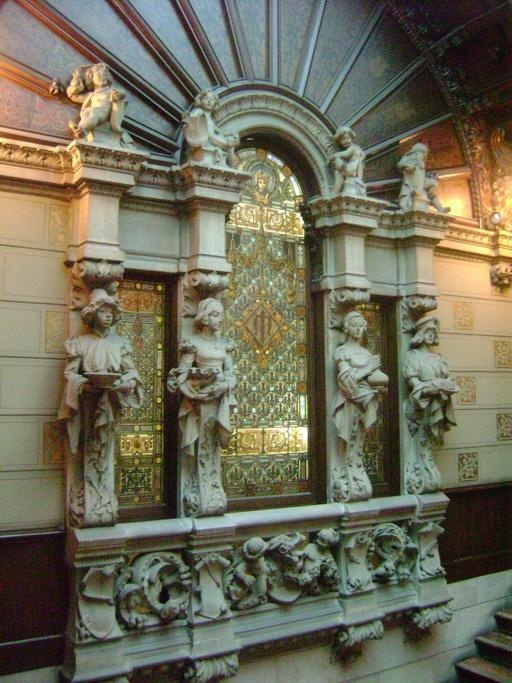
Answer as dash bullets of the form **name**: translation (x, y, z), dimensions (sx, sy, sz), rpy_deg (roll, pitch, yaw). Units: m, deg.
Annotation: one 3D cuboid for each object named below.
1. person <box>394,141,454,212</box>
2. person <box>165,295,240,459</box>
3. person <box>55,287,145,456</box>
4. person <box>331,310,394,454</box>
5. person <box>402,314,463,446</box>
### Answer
- **person**: translation (1.456, -1.436, 5.408), dimensions (0.310, 0.674, 0.545), rpy_deg (-3, -3, 40)
- **person**: translation (-0.358, 0.229, 3.945), dimensions (0.470, 1.024, 0.359), rpy_deg (0, -3, -25)
- **person**: translation (-0.919, 0.174, 3.467), dimensions (0.471, 0.931, 0.394), rpy_deg (-2, -2, 24)
- **person**: translation (0.802, 0.289, 4.663), dimensions (0.411, 1.043, 0.362), rpy_deg (-1, -2, 16)
- **person**: translation (1.461, 0.335, 5.110), dimensions (0.420, 1.108, 0.424), rpy_deg (-1, -2, 13)
